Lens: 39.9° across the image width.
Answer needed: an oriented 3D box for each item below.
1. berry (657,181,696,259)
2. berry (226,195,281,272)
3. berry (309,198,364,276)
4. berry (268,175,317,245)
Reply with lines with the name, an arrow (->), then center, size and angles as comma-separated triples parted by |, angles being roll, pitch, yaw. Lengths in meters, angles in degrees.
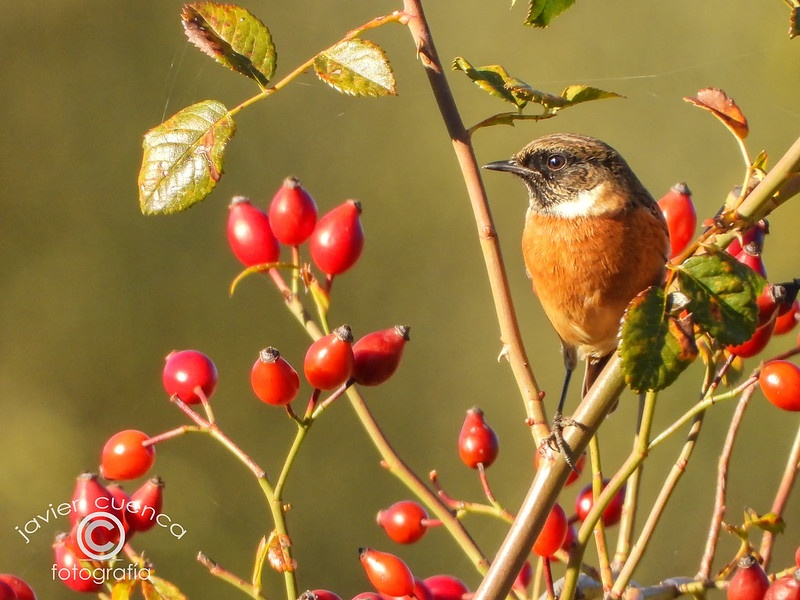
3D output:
berry -> 0.675, -0.187, 2.677 | 0.100, 0.192, 0.148 | 12, 14, 30
berry -> -0.343, -0.160, 2.528 | 0.112, 0.208, 0.151 | -8, 13, -25
berry -> -0.140, -0.135, 2.503 | 0.087, 0.214, 0.106 | -11, 17, -34
berry -> -0.244, -0.201, 2.508 | 0.110, 0.157, 0.068 | 3, 12, -9
